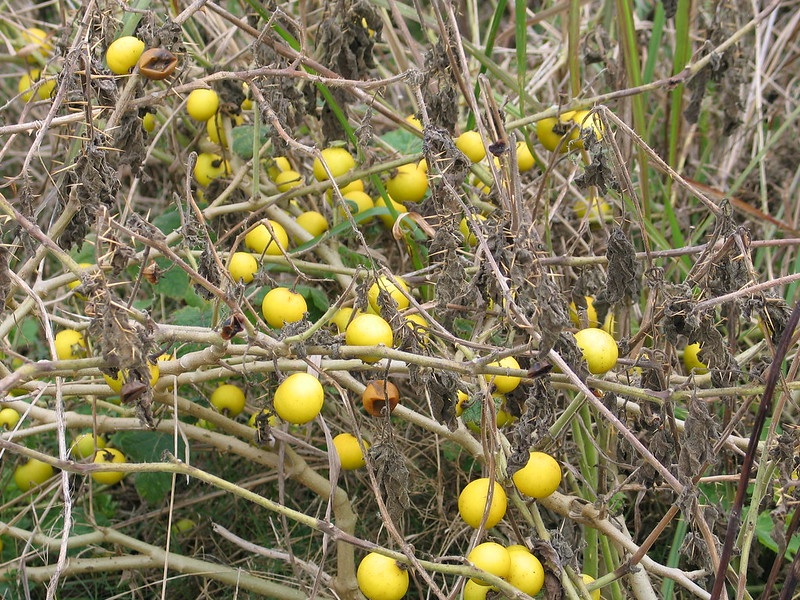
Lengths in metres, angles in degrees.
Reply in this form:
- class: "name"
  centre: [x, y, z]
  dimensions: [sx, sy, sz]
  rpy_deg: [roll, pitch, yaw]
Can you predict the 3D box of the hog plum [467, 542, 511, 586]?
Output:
- class: "hog plum"
  centre: [0.195, 0.573, 2.122]
  dimensions: [0.098, 0.122, 0.082]
  rpy_deg: [8, 59, 2]
